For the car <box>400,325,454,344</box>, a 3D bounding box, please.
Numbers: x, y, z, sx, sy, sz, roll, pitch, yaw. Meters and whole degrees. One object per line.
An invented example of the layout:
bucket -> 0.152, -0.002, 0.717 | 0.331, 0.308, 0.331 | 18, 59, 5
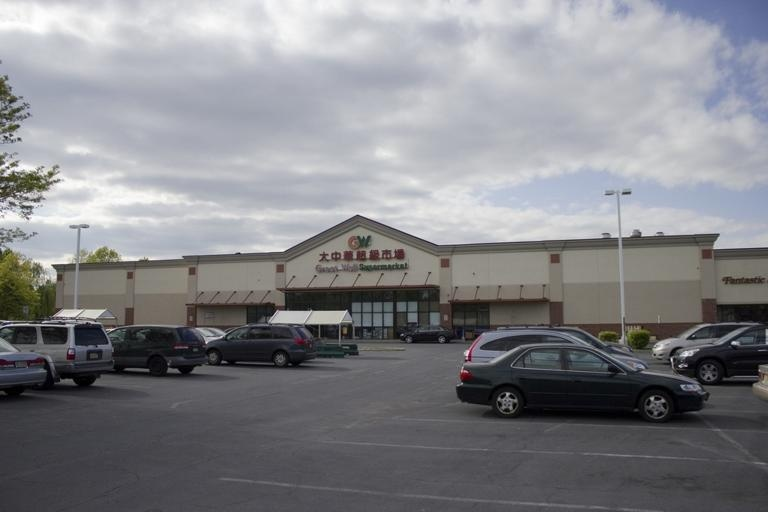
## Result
car -> 3.694, 6.760, 52.386 | 4.131, 1.375, 0.953 | -3, -8, 18

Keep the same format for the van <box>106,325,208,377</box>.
van -> -9.597, 3.896, 25.564 | 3.895, 1.300, 1.962 | 2, -4, 20

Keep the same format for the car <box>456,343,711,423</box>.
car -> 5.242, 3.370, 16.480 | 6.064, 1.714, 2.344 | -3, -6, 13

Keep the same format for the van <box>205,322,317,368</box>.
van -> -6.094, 4.443, 29.943 | 4.743, 1.557, 2.195 | 2, -5, 9
